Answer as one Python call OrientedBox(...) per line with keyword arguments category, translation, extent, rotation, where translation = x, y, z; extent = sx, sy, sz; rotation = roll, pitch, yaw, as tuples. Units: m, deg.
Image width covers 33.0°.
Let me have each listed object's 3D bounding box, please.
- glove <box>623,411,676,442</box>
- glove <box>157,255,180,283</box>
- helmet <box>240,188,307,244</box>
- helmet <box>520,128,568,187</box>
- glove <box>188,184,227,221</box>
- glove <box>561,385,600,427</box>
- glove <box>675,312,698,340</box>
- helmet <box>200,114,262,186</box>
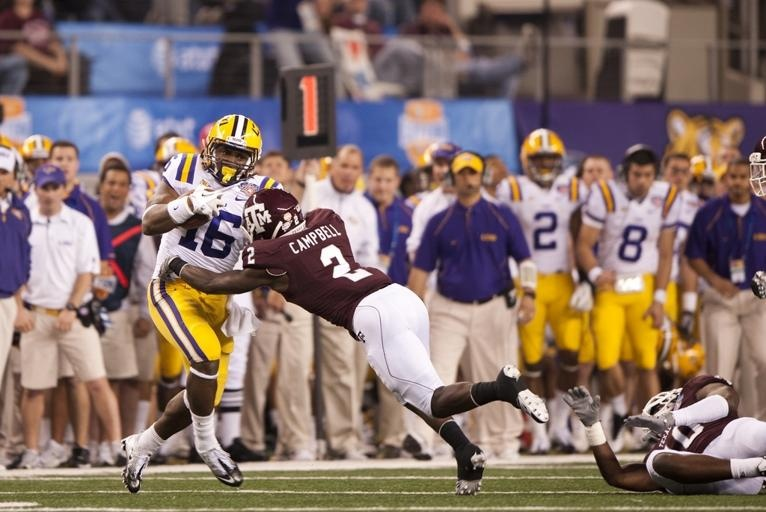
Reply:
OrientedBox(category="glove", translation=(2.100, 1.312, 10.166), extent=(0.299, 0.157, 0.199), rotation=(14, -30, -8))
OrientedBox(category="glove", translation=(-1.757, 0.098, 10.605), extent=(0.072, 0.149, 0.194), rotation=(33, -47, -22))
OrientedBox(category="helmet", translation=(-0.877, -0.323, 10.328), extent=(0.439, 0.439, 0.350), rotation=(5, 9, 20))
OrientedBox(category="helmet", translation=(1.627, -0.999, 13.162), extent=(0.423, 0.497, 0.279), rotation=(0, 0, 5))
OrientedBox(category="glove", translation=(-1.436, -0.450, 10.570), extent=(0.283, 0.250, 0.333), rotation=(0, -1, -9))
OrientedBox(category="glove", translation=(1.558, 1.171, 10.135), extent=(0.267, 0.258, 0.189), rotation=(0, 0, 8))
OrientedBox(category="glove", translation=(3.287, 0.736, 13.948), extent=(0.199, 0.242, 0.466), rotation=(0, -1, 13))
OrientedBox(category="helmet", translation=(-1.280, -0.892, 11.127), extent=(0.456, 0.505, 0.584), rotation=(13, -3, -7))
